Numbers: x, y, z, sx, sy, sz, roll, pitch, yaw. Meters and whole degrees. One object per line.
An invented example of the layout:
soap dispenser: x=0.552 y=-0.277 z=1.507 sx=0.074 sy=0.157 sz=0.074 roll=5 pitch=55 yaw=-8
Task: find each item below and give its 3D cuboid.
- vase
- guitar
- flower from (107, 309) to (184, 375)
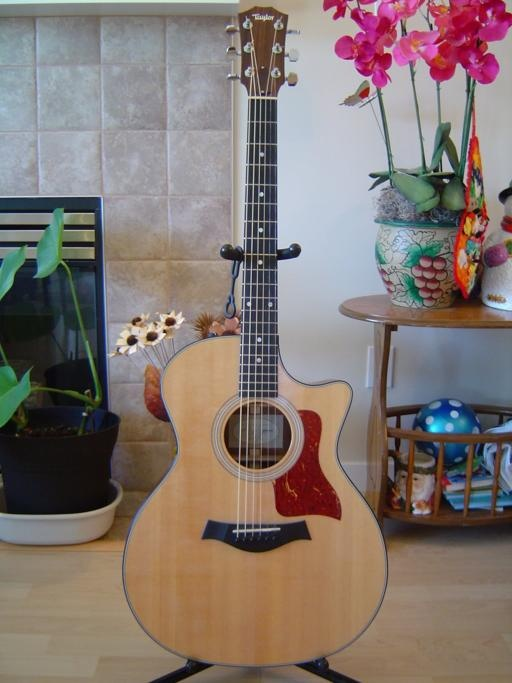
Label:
vase: x=0.430 y=-0.259 z=1.638 sx=0.229 sy=0.304 sz=0.230 roll=-15 pitch=18 yaw=-29
guitar: x=-0.019 y=-0.030 z=1.155 sx=0.454 sy=1.162 sz=0.277 roll=-2 pitch=8 yaw=-12
flower: x=-0.263 y=0.024 z=1.685 sx=0.109 sy=0.113 sz=0.106 roll=-27 pitch=0 yaw=3
